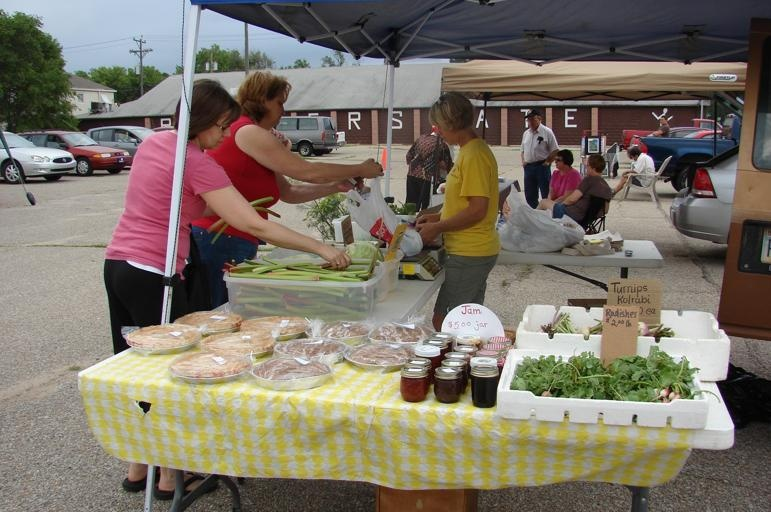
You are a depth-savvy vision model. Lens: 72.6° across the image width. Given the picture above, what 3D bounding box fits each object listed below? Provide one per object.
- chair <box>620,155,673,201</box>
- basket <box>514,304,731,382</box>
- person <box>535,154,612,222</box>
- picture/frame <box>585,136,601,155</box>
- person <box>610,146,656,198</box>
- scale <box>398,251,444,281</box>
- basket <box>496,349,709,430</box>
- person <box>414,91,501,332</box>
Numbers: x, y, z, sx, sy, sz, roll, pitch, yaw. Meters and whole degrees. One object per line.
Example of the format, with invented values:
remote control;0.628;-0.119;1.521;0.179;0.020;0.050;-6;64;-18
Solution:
chair;7.184;-2.012;13.735;1.660;1.216;1.155;3;15;28
basket;1.069;0.381;2.491;0.936;0.152;0.476;2;13;15
person;2.865;-0.937;7.637;0.797;0.985;1.083;5;16;17
picture/frame;6.739;-3.506;16.834;0.803;0.533;0.476;-13;20;-42
person;6.497;-2.141;13.324;0.741;1.145;1.503;8;17;26
scale;0.258;0.074;3.684;0.235;0.092;0.283;2;10;14
basket;0.800;0.496;1.990;0.578;0.081;0.299;2;19;11
person;0.530;-0.261;3.859;0.598;1.812;0.789;5;17;15
